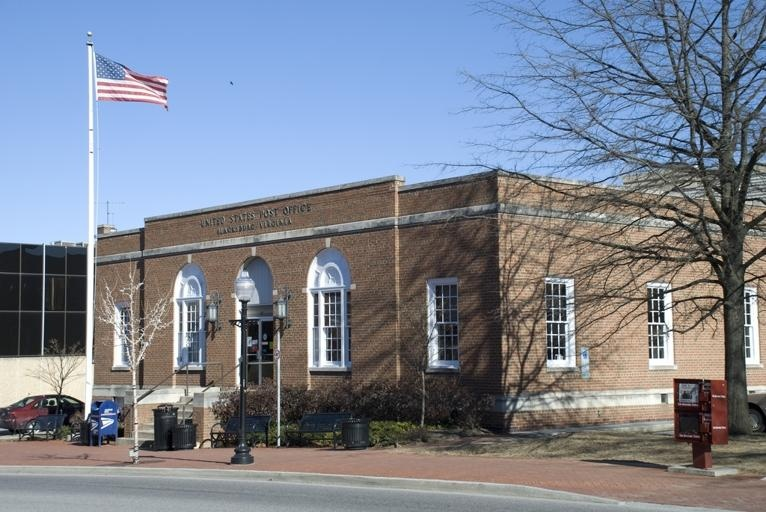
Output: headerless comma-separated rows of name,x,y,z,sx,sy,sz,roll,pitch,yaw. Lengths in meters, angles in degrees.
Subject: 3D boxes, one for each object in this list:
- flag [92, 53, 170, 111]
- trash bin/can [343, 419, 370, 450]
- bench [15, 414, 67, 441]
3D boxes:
flag,-10.481,-7.224,51.982,2.810,1.909,0.422,3,-13,-20
trash bin/can,-0.988,6.248,44.970,1.063,0.908,1.050,-7,-10,31
bench,-14.180,6.977,52.495,1.795,1.146,2.803,1,-12,-14
